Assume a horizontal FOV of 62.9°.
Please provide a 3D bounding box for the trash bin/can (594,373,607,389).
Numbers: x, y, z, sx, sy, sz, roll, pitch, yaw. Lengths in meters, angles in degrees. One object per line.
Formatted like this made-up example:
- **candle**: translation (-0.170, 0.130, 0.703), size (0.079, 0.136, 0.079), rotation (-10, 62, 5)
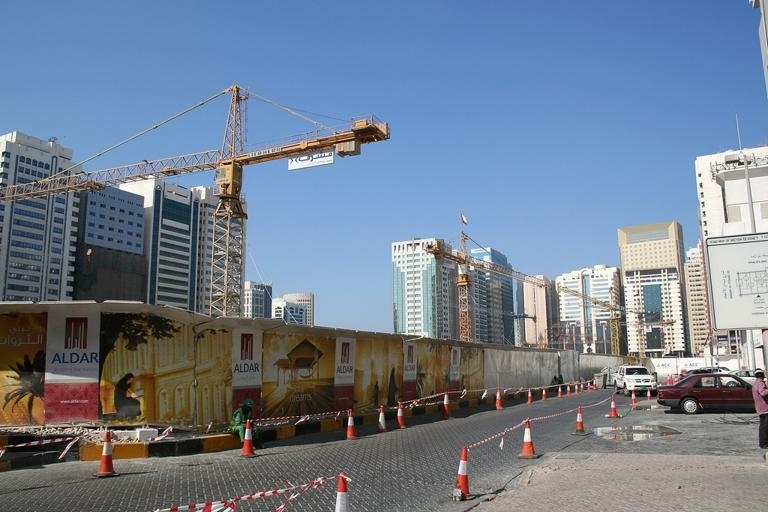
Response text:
- **trash bin/can**: translation (19.589, 11.433, 57.575), size (1.115, 1.468, 1.662), rotation (-4, -6, 22)

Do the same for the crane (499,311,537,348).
- **crane**: translation (67.423, 32.666, 315.585), size (6.701, 22.163, 23.248), rotation (8, -14, -36)

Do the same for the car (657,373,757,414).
- **car**: translation (14.423, 6.332, 28.212), size (3.837, 2.068, 2.172), rotation (-3, -9, 14)
